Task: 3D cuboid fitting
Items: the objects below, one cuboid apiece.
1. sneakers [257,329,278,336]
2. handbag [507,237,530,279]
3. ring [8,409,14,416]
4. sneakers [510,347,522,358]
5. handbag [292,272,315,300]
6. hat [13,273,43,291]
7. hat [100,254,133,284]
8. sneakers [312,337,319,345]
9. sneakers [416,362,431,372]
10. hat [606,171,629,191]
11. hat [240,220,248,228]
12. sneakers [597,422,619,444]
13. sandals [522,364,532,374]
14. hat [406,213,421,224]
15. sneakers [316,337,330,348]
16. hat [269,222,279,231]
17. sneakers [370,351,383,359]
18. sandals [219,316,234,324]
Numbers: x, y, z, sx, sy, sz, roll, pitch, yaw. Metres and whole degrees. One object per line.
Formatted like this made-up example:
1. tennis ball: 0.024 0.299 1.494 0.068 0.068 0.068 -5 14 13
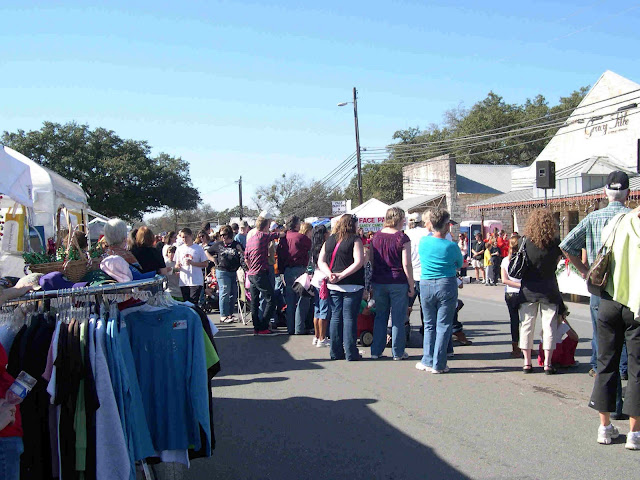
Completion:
1. sneakers: -0.923 1.643 11.269 0.360 0.182 0.132 -3 -4 0
2. handbag: 2.549 0.256 8.182 0.180 0.487 0.352 11 -17 26
3. ring: -2.152 1.212 4.474 0.013 0.047 0.033 0 6 15
4. sneakers: 2.801 1.612 9.092 0.145 0.126 0.112 1 6 18
5. handbag: -0.265 0.756 10.626 0.428 0.277 0.450 18 -11 31
6. hat: -2.410 0.345 5.297 0.183 0.195 0.166 1 -4 -10
7. hat: -1.873 0.278 5.872 0.182 0.179 0.111 1 17 10
8. sneakers: -0.055 1.630 10.243 0.080 0.102 0.221 1 -11 -1
9. sneakers: 1.392 1.716 8.569 0.193 0.100 0.074 27 18 40
10. hat: 3.289 -0.651 7.041 0.255 0.217 0.237 -1 6 5
11. hat: -1.596 -0.346 13.522 0.136 0.158 0.171 -2 -23 -8
12. sneakers: 2.806 1.903 6.227 0.109 0.141 0.274 1 5 40
13. sandals: 2.723 1.671 8.350 0.125 0.115 0.201 1 7 19
14. hat: 3.411 -0.783 23.280 0.403 0.500 0.806 0 -5 2
15. sneakers: 0.047 1.633 10.124 0.231 0.117 0.098 -6 5 -14
16. hat: -0.888 -0.256 12.269 0.154 0.113 0.266 2 -2 3
17. sneakers: 0.818 1.657 9.143 0.151 0.102 0.117 -2 6 -5
18. sandals: -1.808 1.589 12.575 0.120 0.113 0.233 3 -11 -34
